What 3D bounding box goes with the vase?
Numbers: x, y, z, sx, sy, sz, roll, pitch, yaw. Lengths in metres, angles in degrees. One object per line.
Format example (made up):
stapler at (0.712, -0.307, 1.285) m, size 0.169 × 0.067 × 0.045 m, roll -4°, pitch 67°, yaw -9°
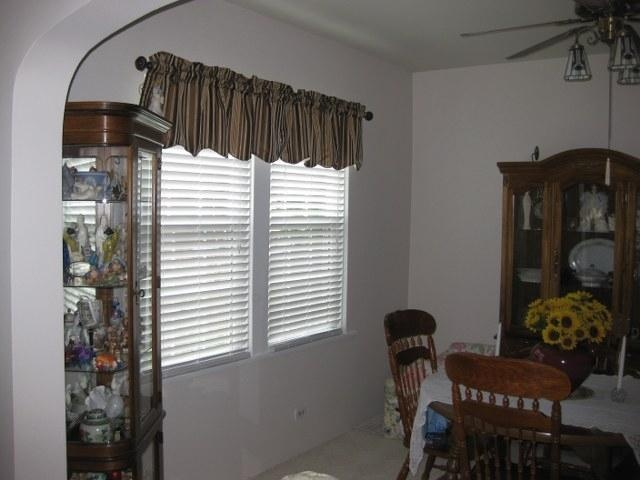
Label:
vase at (1.317, 0.687, 3.022) m, size 0.243 × 0.209 × 0.263 m, roll 7°, pitch -11°, yaw -33°
